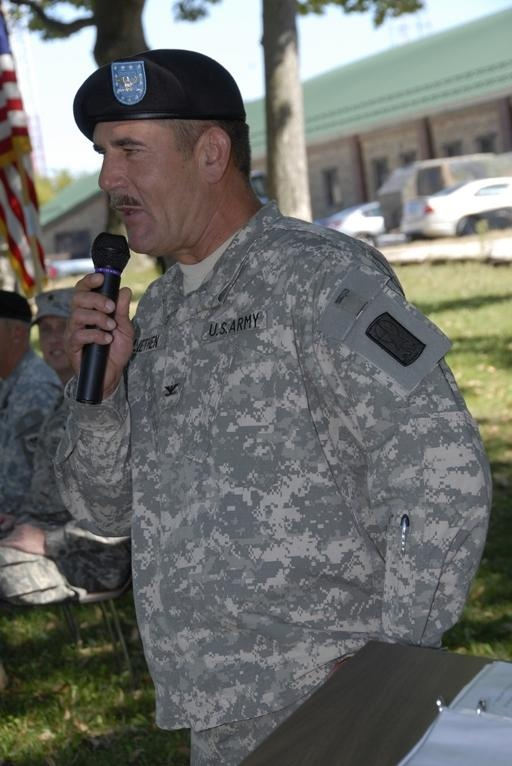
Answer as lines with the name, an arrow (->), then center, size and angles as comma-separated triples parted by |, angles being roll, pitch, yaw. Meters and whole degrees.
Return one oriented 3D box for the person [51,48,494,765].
person -> -0.027, 0.056, 1.593 | 0.569, 1.449, 0.966 | -13, 16, -25
